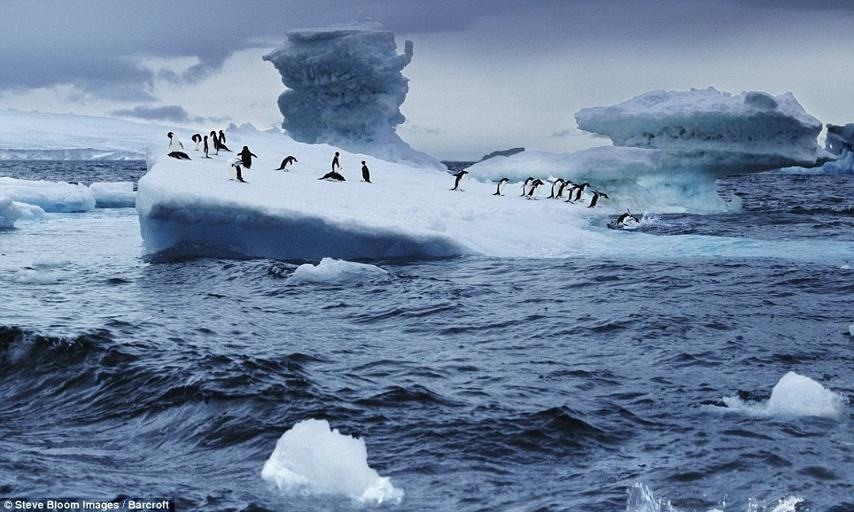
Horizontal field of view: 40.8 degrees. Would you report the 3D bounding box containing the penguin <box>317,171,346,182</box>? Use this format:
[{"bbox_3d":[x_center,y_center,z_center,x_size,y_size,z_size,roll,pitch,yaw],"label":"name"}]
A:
[{"bbox_3d":[-2.727,-2.304,33.550,0.897,0.304,0.240,7,44,9],"label":"penguin"}]

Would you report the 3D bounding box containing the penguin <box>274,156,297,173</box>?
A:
[{"bbox_3d":[-4.520,-2.784,35.186,1.003,0.306,0.351,-16,14,10],"label":"penguin"}]
